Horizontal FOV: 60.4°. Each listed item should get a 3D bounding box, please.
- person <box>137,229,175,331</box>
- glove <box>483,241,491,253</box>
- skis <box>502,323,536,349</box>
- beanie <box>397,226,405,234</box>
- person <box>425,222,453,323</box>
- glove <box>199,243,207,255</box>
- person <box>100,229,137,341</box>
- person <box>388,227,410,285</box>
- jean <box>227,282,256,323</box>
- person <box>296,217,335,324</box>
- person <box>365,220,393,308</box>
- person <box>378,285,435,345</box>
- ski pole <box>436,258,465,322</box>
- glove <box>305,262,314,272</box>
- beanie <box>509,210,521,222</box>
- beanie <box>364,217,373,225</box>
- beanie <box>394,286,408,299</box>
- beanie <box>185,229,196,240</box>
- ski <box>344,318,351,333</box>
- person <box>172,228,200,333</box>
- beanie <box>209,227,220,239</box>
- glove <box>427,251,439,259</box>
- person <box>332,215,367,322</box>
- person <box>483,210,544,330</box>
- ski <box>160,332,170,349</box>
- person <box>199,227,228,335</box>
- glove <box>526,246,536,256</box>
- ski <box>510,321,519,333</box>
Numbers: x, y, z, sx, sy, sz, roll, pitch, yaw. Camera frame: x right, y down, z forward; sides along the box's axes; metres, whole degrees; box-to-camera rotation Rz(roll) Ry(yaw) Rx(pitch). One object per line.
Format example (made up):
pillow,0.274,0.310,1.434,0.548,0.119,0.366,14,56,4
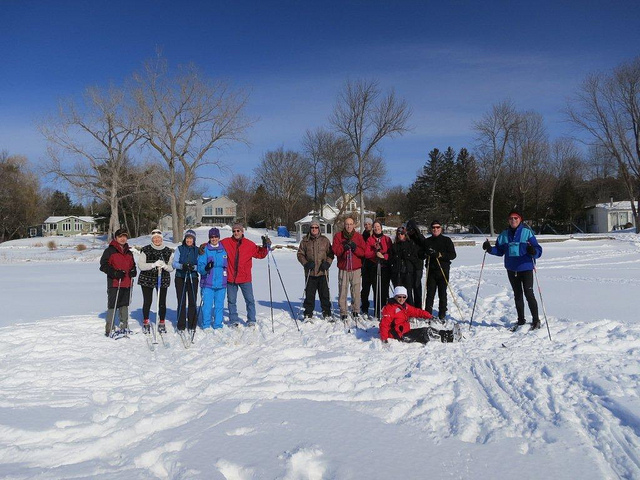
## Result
person,-3.011,0.732,9.982,0.603,1.846,0.742,-1,14,5
glove,2.953,0.126,9.620,0.067,0.185,0.124,11,-30,-18
skis,3.229,1.462,8.817,0.256,0.017,0.819,-3,10,42
beanie,1.538,-0.163,10.327,0.135,0.148,0.168,-1,14,5
person,2.226,0.573,10.222,0.515,1.766,0.800,1,14,12
glove,-2.188,0.175,10.191,0.063,0.184,0.150,11,-19,-5
person,-3.590,0.789,9.740,0.687,1.868,0.558,-14,18,-41
person,1.526,0.288,10.405,0.398,1.049,0.491,-4,14,-7
jean,-1.528,1.084,10.456,0.546,1.303,0.322,-4,34,-12
person,-0.073,0.597,10.651,0.711,1.976,0.988,-2,14,-1
person,1.167,0.569,10.816,0.534,1.966,0.496,2,23,15
person,1.432,1.306,9.087,0.785,0.820,1.055,4,9,36
ski pole,2.755,1.096,11.534,0.043,1.208,0.086,-25,-2,17
glove,-0.186,0.504,10.397,0.177,0.183,0.185,-6,15,-15
beanie,3.422,-0.417,9.547,0.190,0.195,0.416,3,16,20
beanie,0.993,-0.372,11.066,0.099,0.124,0.145,0,-5,7
beanie,1.372,0.858,9.151,0.153,0.195,0.240,4,-23,4
beanie,-2.409,-0.090,10.159,0.142,0.175,0.207,10,-10,-14
ski,0.497,1.567,10.019,0.054,0.055,0.182,13,34,-26
person,-2.443,0.755,10.073,0.510,1.742,0.984,-5,14,-14
beanie,-1.935,-0.118,10.016,0.131,0.171,0.196,1,-12,-18
glove,2.123,0.292,10.158,0.184,0.193,0.189,1,14,11
person,0.595,0.544,10.635,0.676,2.026,1.109,-2,14,2
person,3.493,0.490,9.495,0.600,1.902,1.166,-10,16,-31
ski,-2.722,1.760,9.532,0.078,0.110,0.420,8,8,-25
person,-1.968,0.754,10.060,0.521,1.891,0.821,-5,14,-11
glove,3.576,0.190,9.211,0.105,0.127,0.123,5,6,12
ski,3.308,1.498,9.276,0.076,0.094,0.216,-47,-24,26
